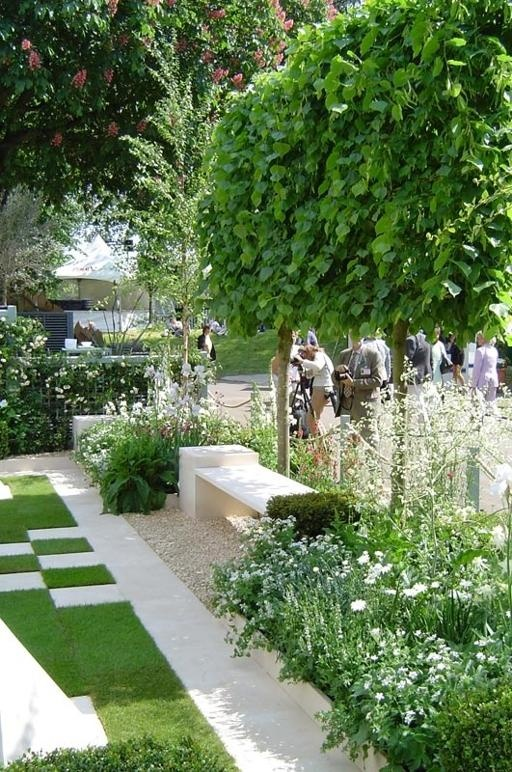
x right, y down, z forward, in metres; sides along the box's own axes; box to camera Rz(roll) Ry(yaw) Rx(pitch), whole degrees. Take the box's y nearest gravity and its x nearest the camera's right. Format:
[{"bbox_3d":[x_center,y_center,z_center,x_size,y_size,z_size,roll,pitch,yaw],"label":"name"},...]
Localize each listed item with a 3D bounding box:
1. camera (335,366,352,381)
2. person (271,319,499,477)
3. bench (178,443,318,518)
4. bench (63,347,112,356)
[{"bbox_3d":[0.878,-0.134,7.304,0.154,0.128,0.153,3,12,9],"label":"camera"},{"bbox_3d":[0.877,-0.046,8.516,1.435,1.533,0.367,-20,-36,-3],"label":"person"},{"bbox_3d":[-0.177,0.915,6.257,0.633,0.654,1.969,2,-6,-14],"label":"bench"},{"bbox_3d":[-2.708,-0.542,11.442,0.649,0.153,1.792,1,2,-12],"label":"bench"}]
